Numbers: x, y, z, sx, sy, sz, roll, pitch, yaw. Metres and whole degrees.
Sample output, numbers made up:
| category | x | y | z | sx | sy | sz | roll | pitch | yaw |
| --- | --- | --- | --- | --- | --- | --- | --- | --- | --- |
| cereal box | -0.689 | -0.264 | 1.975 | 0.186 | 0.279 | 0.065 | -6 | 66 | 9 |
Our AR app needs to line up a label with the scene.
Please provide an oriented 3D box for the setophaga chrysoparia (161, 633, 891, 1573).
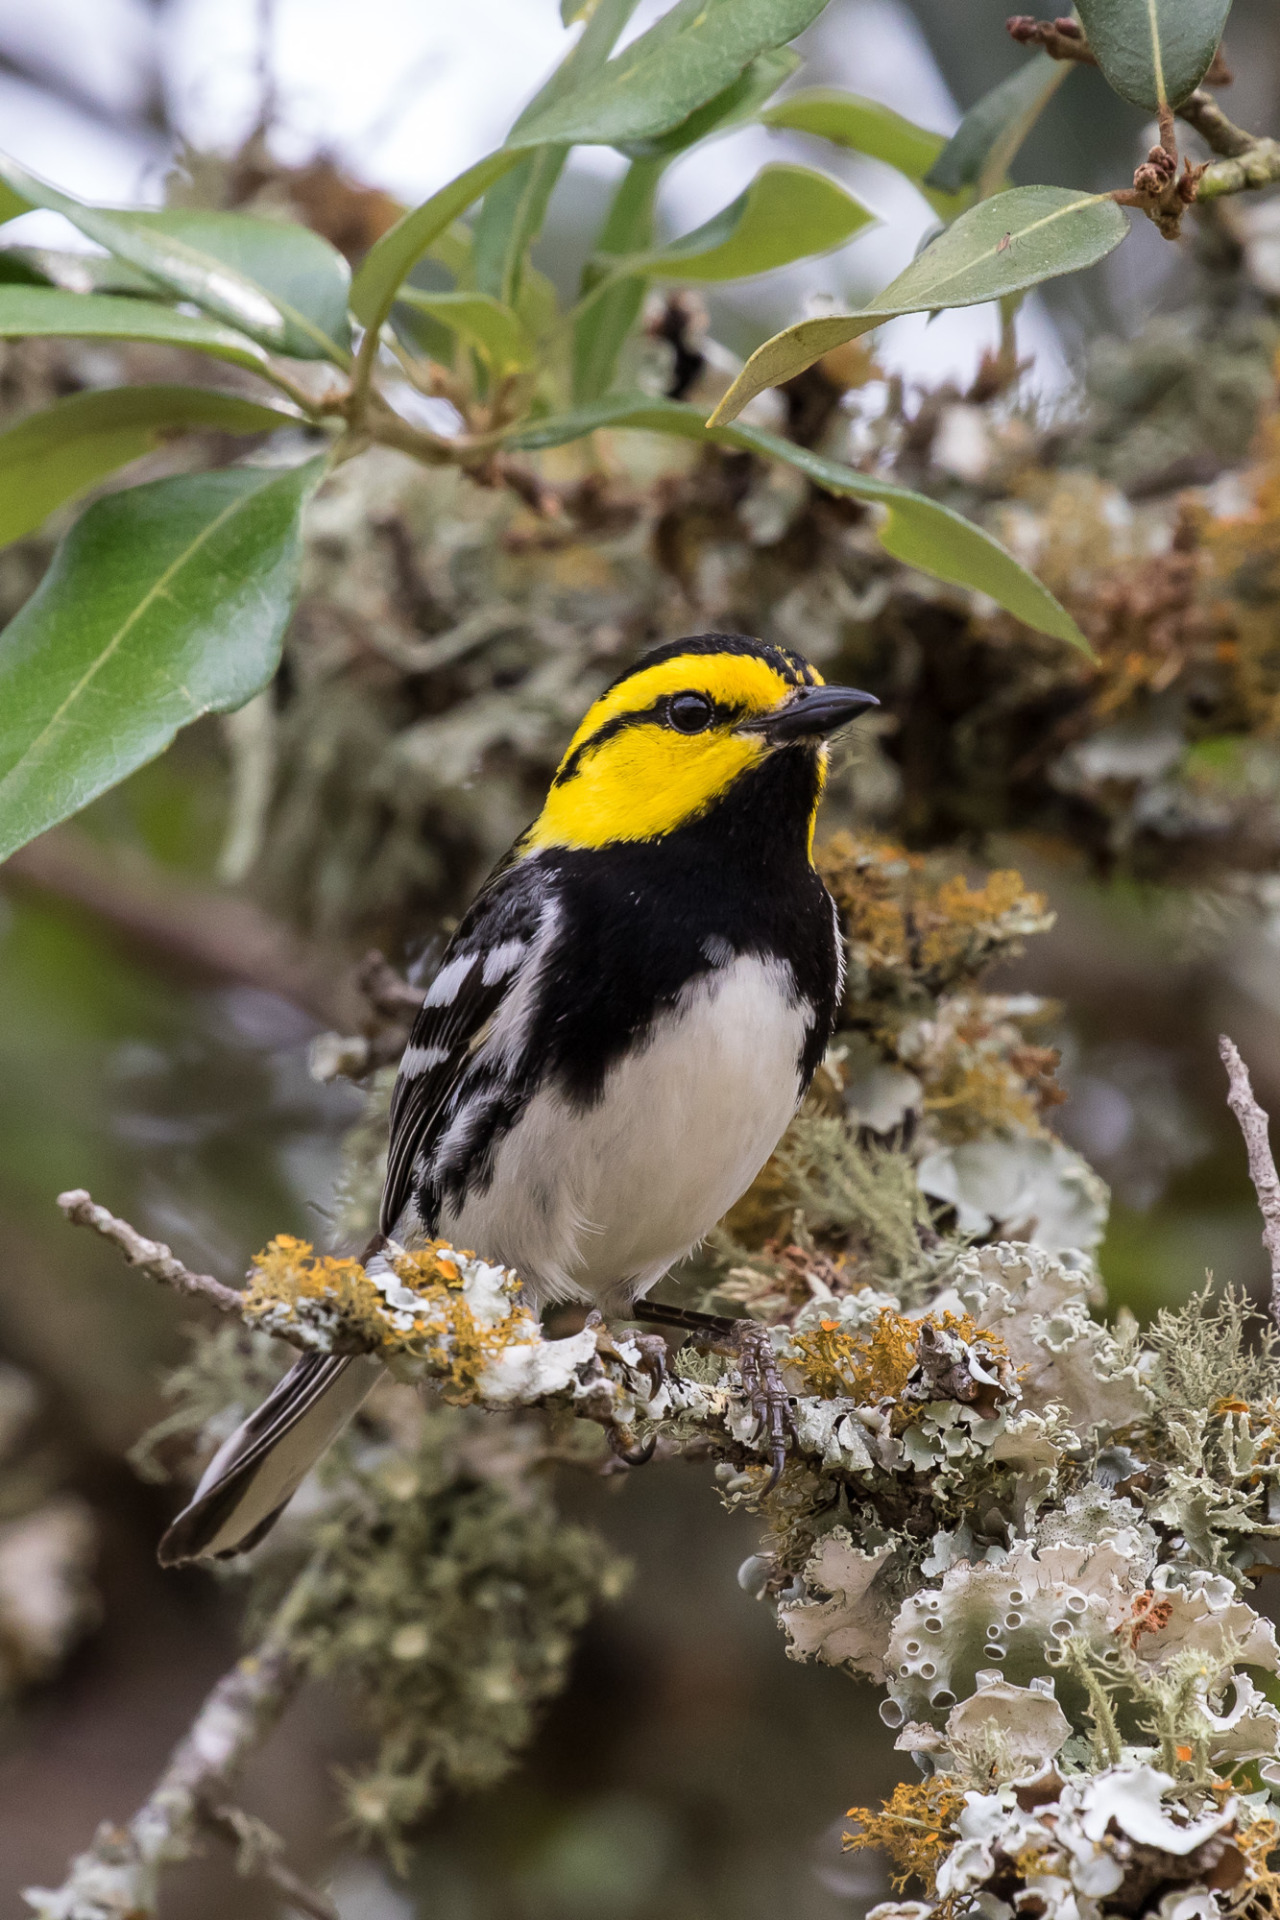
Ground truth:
| category | x | y | z | sx | sy | sz | roll | pitch | yaw |
| --- | --- | --- | --- | --- | --- | --- | --- | --- | --- |
| setophaga chrysoparia | -0.011 | 0.069 | 3.012 | 0.654 | 0.977 | 0.679 | 8 | 31 | 33 |
